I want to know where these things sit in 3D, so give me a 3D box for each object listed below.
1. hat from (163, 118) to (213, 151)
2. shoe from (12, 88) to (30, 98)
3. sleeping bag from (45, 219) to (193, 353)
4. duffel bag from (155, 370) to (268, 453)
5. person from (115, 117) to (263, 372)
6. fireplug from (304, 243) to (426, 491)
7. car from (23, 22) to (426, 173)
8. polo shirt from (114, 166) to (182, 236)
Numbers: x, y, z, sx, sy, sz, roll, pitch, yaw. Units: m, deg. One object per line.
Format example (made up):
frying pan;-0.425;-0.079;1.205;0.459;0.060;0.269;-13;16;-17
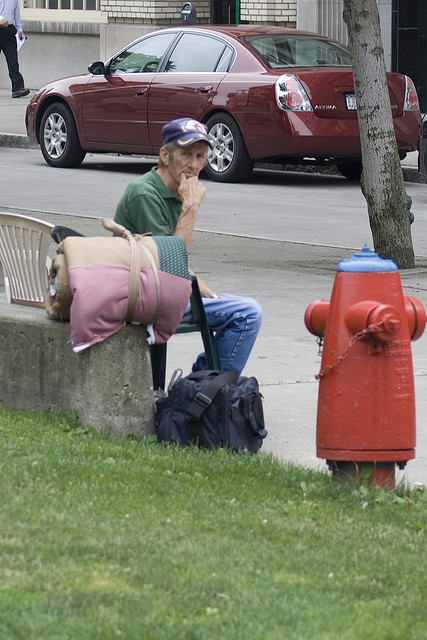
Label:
hat;-0.121;-0.749;5.869;0.106;0.091;0.148;-3;7;-37
shoe;-3.527;-4.134;26.389;0.403;0.177;0.415;-4;12;-32
sleeping bag;-0.351;-0.117;5.446;0.556;0.473;0.399;1;9;-6
duffel bag;-0.019;0.324;5.437;0.405;0.361;0.302;11;11;26
person;-0.097;-0.223;6.015;0.539;1.260;0.441;5;19;15
fireplug;0.495;0.171;4.686;0.328;0.782;0.204;3;8;8
car;-0.187;-2.307;15.357;4.107;1.603;0.977;11;13;41
polo shirt;-0.291;-0.459;5.968;0.212;0.355;0.366;12;14;2
